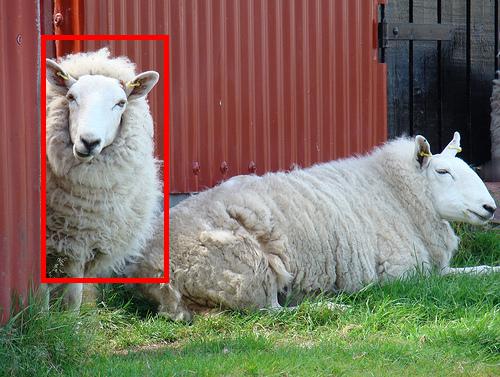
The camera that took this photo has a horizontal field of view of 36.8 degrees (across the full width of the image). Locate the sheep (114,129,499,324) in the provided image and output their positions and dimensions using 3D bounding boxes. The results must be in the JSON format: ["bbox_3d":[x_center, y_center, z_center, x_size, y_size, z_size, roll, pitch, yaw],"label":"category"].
[{"bbox_3d":[0.466,0.452,7.833,3.382,1.850,1.806,-13,11,-5],"label":"sheep"}]
